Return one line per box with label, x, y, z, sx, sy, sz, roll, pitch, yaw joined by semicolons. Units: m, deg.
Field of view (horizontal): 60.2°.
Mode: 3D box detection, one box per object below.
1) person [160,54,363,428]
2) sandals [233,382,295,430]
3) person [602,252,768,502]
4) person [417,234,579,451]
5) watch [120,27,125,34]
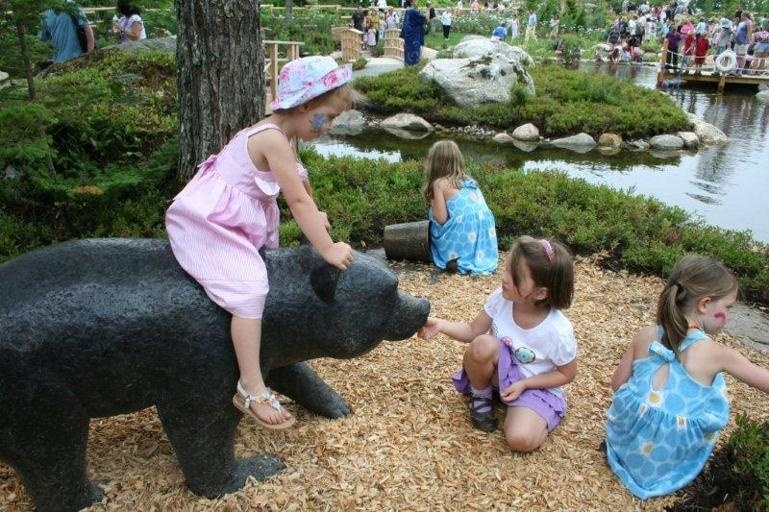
person;-0.751;-0.126;4.312;1.027;2.165;1.073;21;30;37
sandals;-0.768;0.938;4.212;0.433;0.214;0.207;24;17;-1
person;1.930;0.792;4.396;0.763;1.488;0.578;-5;24;-16
person;0.926;0.584;4.624;0.828;1.365;0.628;10;25;18
watch;-4.502;-3.812;11.339;0.072;0.099;0.035;22;49;18
